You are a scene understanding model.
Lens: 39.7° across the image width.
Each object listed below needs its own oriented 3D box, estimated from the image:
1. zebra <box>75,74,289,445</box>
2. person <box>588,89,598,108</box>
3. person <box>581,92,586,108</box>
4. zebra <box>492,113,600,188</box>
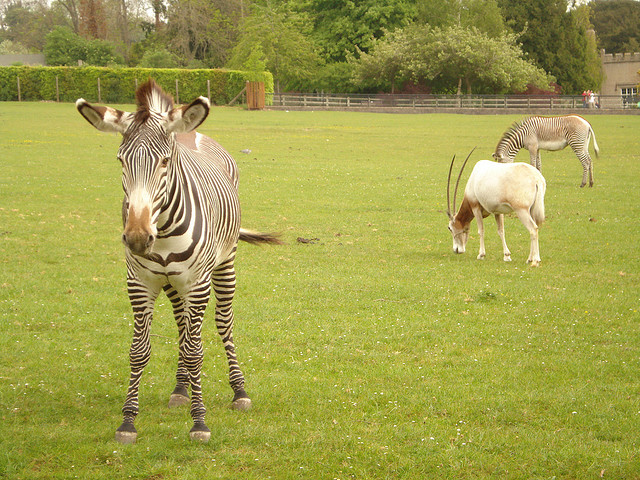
[{"bbox_3d":[-2.479,0.382,15.451,2.475,6.241,1.451,-5,8,-44],"label":"zebra"},{"bbox_3d":[25.964,-13.176,84.274,0.796,1.434,4.050,3,7,17],"label":"person"},{"bbox_3d":[24.769,-13.000,83.287,0.273,1.319,2.383,3,7,16],"label":"person"},{"bbox_3d":[8.349,-3.359,33.293,3.952,2.780,1.144,1,2,32],"label":"zebra"}]
